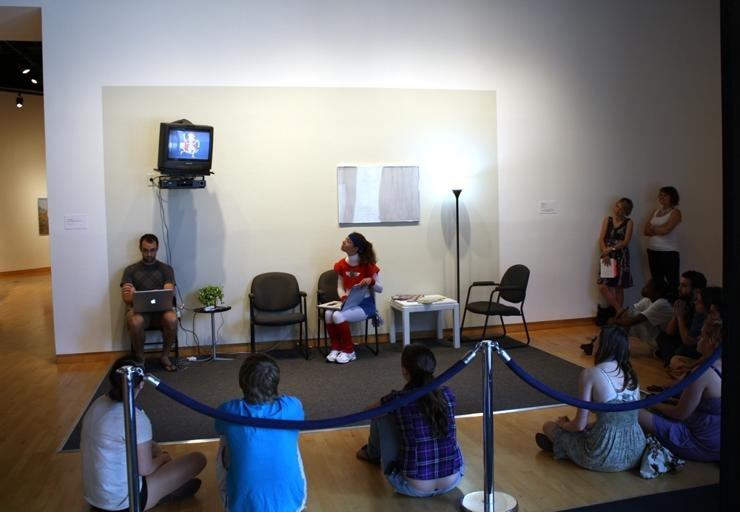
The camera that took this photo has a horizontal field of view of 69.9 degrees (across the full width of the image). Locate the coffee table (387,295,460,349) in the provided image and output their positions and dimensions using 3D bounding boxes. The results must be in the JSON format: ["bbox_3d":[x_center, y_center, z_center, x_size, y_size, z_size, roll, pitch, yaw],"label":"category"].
[{"bbox_3d":[0.709,0.805,6.902,0.696,0.649,0.709,1,-2,-9],"label":"coffee table"}]

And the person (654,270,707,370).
[{"bbox_3d":[3.345,0.742,5.597,0.555,1.104,0.427,-2,9,-1],"label":"person"}]

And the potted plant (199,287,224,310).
[{"bbox_3d":[-1.951,0.490,6.512,0.287,0.214,0.270,2,-1,-5],"label":"potted plant"}]

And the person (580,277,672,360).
[{"bbox_3d":[3.216,0.759,6.504,0.902,1.030,0.567,4,11,16],"label":"person"}]

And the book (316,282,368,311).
[{"bbox_3d":[-0.282,0.533,6.423,0.381,0.261,0.413,1,3,25],"label":"book"}]

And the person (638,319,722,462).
[{"bbox_3d":[2.312,1.160,3.929,0.507,0.774,0.295,3,9,34],"label":"person"}]

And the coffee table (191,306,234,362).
[{"bbox_3d":[-1.952,0.954,6.551,0.585,0.759,0.618,-1,-4,15],"label":"coffee table"}]

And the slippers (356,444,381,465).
[{"bbox_3d":[-0.008,1.531,4.095,0.087,0.088,0.257,-2,6,-23],"label":"slippers"}]

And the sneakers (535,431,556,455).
[{"bbox_3d":[1.376,1.474,4.214,0.123,0.068,0.190,18,21,-25],"label":"sneakers"}]

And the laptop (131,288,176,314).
[{"bbox_3d":[-2.496,0.515,6.079,0.380,0.276,0.278,1,12,-19],"label":"laptop"}]

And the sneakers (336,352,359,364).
[{"bbox_3d":[-0.283,1.228,6.318,0.095,0.111,0.246,-6,-9,38],"label":"sneakers"}]

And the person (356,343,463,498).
[{"bbox_3d":[0.260,1.159,3.930,0.652,1.115,1.066,-3,10,-12],"label":"person"}]

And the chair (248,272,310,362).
[{"bbox_3d":[-1.185,0.724,6.685,0.864,1.346,0.937,0,-1,-13],"label":"chair"}]
